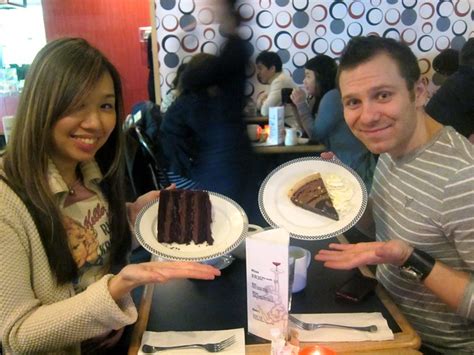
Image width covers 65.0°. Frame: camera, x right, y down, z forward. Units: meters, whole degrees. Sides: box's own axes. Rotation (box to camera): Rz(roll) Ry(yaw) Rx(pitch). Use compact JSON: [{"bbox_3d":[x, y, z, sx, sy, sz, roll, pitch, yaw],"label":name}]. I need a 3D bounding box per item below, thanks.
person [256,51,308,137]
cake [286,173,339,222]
[{"bbox_3d":[0.600,-1.124,4.831,0.526,1.476,0.481,-12,24,8],"label":"person"},{"bbox_3d":[0.468,0.124,2.137,0.244,0.114,0.334,-30,44,-10],"label":"cake"}]
